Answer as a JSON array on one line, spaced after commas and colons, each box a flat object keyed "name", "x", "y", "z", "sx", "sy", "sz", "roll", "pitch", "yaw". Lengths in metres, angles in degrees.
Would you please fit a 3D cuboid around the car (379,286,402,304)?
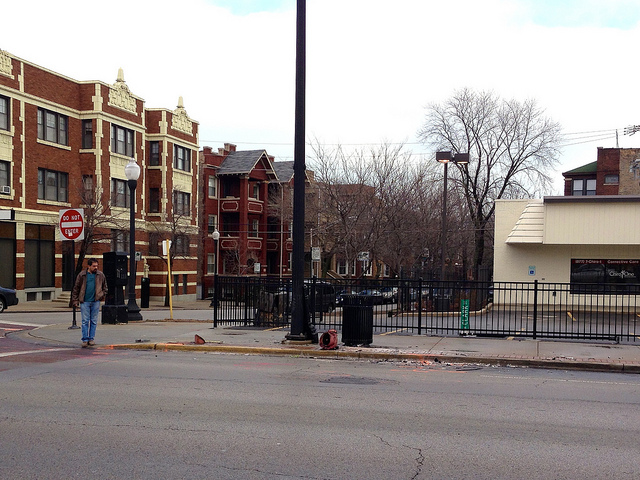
[{"name": "car", "x": 2.547, "y": 1.975, "z": 26.502, "sx": 0.864, "sy": 0.707, "sz": 1.986, "roll": -1, "pitch": -8, "yaw": 13}]

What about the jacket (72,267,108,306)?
[{"name": "jacket", "x": -5.926, "y": 1.179, "z": 18.495, "sx": 0.785, "sy": 0.937, "sz": 0.903, "roll": -1, "pitch": 2, "yaw": -19}]

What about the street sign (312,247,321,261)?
[{"name": "street sign", "x": -0.211, "y": 0.694, "z": 34.309, "sx": 0.341, "sy": 0.638, "sz": 0.991, "roll": 0, "pitch": 2, "yaw": 1}]

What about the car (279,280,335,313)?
[{"name": "car", "x": -0.417, "y": 1.628, "z": 20.976, "sx": 1.465, "sy": 1.190, "sz": 1.286, "roll": 3, "pitch": -2, "yaw": -34}]

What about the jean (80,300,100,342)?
[{"name": "jean", "x": -5.853, "y": 2.045, "z": 18.279, "sx": 0.468, "sy": 1.046, "sz": 0.819, "roll": -1, "pitch": 2, "yaw": -18}]
